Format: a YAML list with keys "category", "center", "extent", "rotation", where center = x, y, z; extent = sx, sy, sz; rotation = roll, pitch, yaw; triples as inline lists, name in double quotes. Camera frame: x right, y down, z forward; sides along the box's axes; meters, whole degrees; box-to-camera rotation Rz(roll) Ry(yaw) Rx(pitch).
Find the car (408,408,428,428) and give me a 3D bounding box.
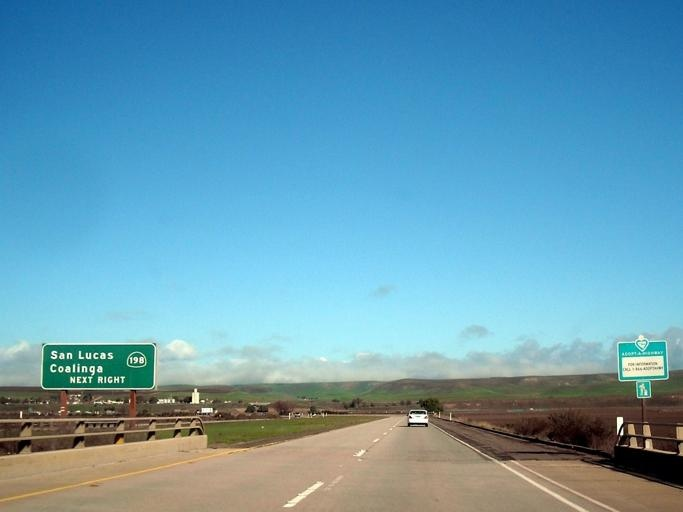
- category: "car"
  center: [8.506, 18.376, 60.210]
  extent: [1.561, 1.266, 3.589]
  rotation: [0, -2, 5]
